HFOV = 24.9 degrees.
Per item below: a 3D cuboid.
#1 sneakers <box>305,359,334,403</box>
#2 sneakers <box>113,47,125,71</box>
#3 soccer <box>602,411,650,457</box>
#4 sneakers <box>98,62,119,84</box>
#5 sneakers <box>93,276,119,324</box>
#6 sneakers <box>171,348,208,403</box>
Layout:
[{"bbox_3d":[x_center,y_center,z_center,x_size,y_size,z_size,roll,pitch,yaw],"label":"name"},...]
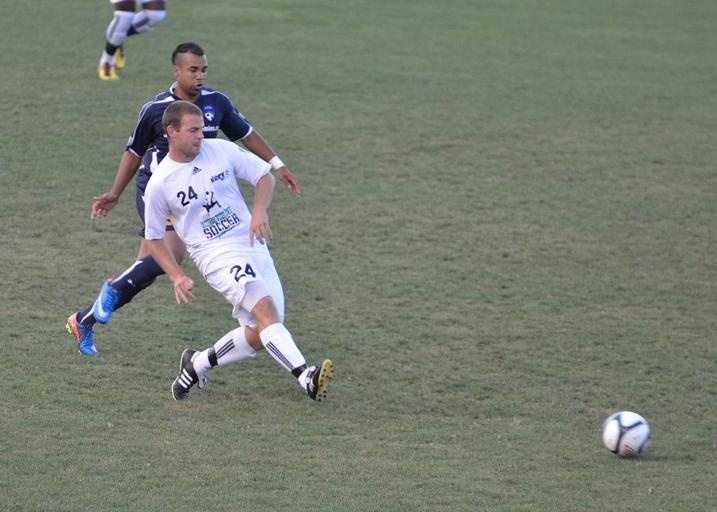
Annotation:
[{"bbox_3d":[-0.356,1.030,13.353,0.151,0.196,0.425,-51,35,-10],"label":"sneakers"},{"bbox_3d":[-2.612,-2.168,17.964,0.092,0.239,0.108,-2,-5,-5],"label":"sneakers"},{"bbox_3d":[2.183,1.408,13.200,0.379,0.352,0.378,-15,-3,21],"label":"soccer"},{"bbox_3d":[-2.703,-1.982,17.741,0.225,0.251,0.627,-4,7,-16],"label":"sneakers"},{"bbox_3d":[-2.101,0.389,13.869,0.190,0.405,0.164,17,-7,33],"label":"sneakers"},{"bbox_3d":[-1.377,0.992,13.569,0.222,0.503,0.183,16,26,7],"label":"sneakers"}]
